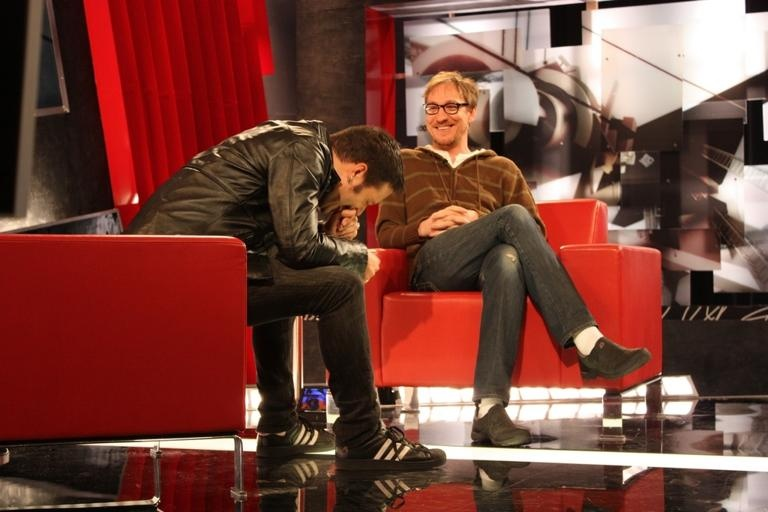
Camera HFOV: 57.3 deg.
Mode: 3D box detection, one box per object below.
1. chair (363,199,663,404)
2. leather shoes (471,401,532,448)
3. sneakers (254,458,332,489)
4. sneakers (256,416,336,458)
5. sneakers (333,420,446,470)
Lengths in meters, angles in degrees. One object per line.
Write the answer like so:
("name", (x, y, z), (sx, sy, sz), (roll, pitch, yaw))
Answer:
("chair", (0.482, 0.166, 3.156), (1.261, 0.801, 0.693), (-3, 1, 29))
("leather shoes", (0.436, 0.628, 2.629), (0.145, 0.139, 0.299), (5, -11, -31))
("sneakers", (-0.302, 0.712, 2.326), (0.248, 0.092, 0.082), (0, 0, -6))
("sneakers", (-0.326, 0.669, 2.625), (0.330, 0.138, 0.122), (7, -9, -44))
("sneakers", (0.018, 0.636, 2.395), (0.407, 0.161, 0.144), (0, -5, -1))
